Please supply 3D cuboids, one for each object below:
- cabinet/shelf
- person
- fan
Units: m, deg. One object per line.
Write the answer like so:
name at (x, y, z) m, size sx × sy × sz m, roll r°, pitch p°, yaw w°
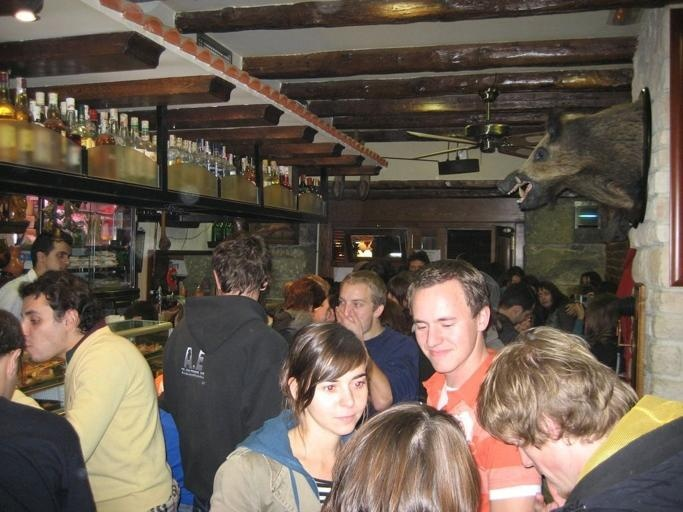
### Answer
cabinet/shelf at (-1.562, 0.664, 3.874) m, size 0.869 × 0.539 × 0.449 m, roll -1°, pitch -20°, yaw 0°
person at (0.251, 0.551, 2.914) m, size 2.110 × 1.321 × 0.631 m, roll 0°, pitch -1°, yaw 33°
fan at (1.486, -1.162, 5.943) m, size 1.112 × 0.356 × 1.046 m, roll 2°, pitch -1°, yaw 2°
